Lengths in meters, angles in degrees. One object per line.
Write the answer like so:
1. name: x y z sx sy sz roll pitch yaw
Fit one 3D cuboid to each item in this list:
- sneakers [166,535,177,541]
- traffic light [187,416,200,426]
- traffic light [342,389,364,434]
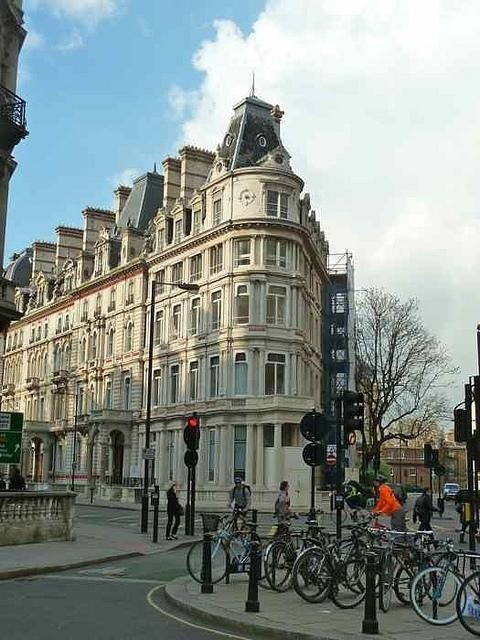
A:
1. sneakers: -1.955 6.264 21.846 0.114 0.135 0.335 1 -5 28
2. traffic light: -1.288 2.789 20.878 0.257 0.345 0.680 2 -13 -6
3. traffic light: 2.357 1.911 15.896 0.412 0.973 1.581 -1 -13 8
